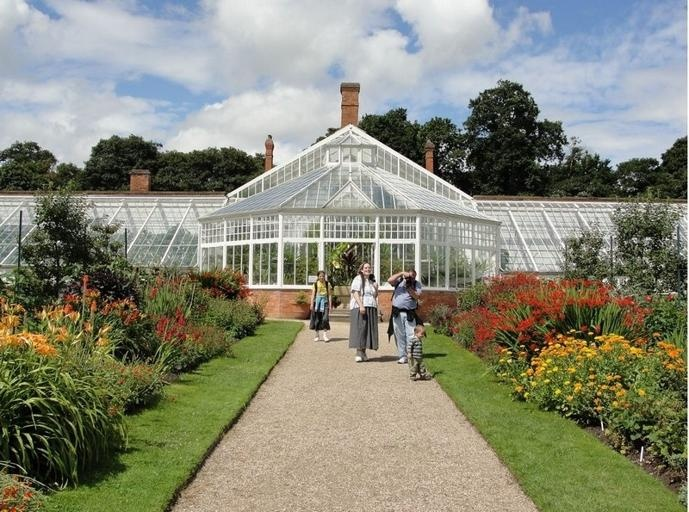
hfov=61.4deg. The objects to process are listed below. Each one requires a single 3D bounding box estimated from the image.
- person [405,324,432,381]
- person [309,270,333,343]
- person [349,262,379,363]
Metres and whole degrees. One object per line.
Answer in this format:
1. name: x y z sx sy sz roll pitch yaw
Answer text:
1. person: 1.509 1.940 11.777 0.437 1.096 0.350 -1 4 -27
2. person: -0.678 1.397 16.295 0.547 2.029 1.466 0 3 -2
3. person: 0.441 1.297 13.487 0.682 2.258 0.547 0 4 -7
